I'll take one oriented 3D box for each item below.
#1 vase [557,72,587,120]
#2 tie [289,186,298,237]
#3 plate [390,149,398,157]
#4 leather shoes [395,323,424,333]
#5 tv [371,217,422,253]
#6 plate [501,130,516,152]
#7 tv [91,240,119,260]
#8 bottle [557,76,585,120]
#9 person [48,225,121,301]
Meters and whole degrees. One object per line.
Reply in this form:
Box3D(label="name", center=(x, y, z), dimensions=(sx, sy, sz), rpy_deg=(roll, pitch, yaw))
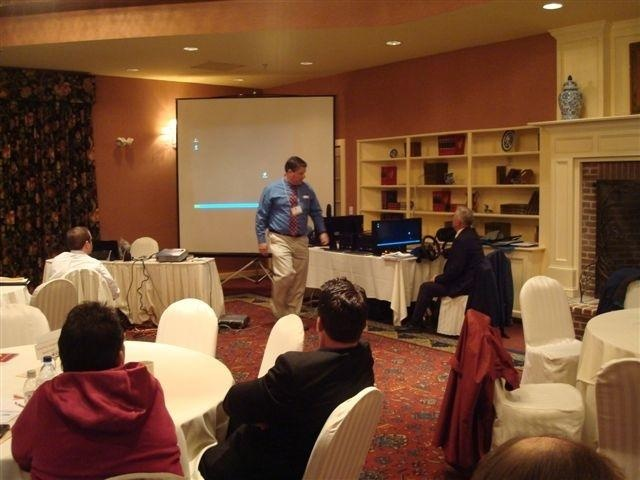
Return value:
Box3D(label="vase", center=(2.663, -1.503, 5.375), dimensions=(0.237, 0.429, 0.247), rpy_deg=(1, 15, 24))
Box3D(label="tie", center=(-0.273, -0.319, 5.529), dimensions=(0.142, 0.572, 0.098), rpy_deg=(2, -2, -10))
Box3D(label="plate", center=(1.078, -1.249, 7.271), dimensions=(0.120, 0.129, 0.030), rpy_deg=(-3, -11, 37))
Box3D(label="leather shoes", center=(0.962, 0.925, 5.467), dimensions=(0.281, 0.121, 0.109), rpy_deg=(3, 2, 16))
Box3D(label="tv", center=(0.879, -0.054, 5.761), dimensions=(0.659, 0.378, 0.111), rpy_deg=(-6, 9, -29))
Box3D(label="plate", center=(2.262, -1.176, 6.039), dimensions=(0.150, 0.279, 0.131), rpy_deg=(0, -2, 26))
Box3D(label="tv", center=(-2.624, 0.125, 6.187), dimensions=(0.214, 0.212, 0.116), rpy_deg=(2, 2, 25))
Box3D(label="bottle", center=(2.661, -1.502, 5.359), dimensions=(0.232, 0.520, 0.217), rpy_deg=(1, -2, 0))
Box3D(label="person", center=(-2.284, 0.221, 4.858), dimensions=(0.739, 0.821, 0.424), rpy_deg=(2, 10, 0))
